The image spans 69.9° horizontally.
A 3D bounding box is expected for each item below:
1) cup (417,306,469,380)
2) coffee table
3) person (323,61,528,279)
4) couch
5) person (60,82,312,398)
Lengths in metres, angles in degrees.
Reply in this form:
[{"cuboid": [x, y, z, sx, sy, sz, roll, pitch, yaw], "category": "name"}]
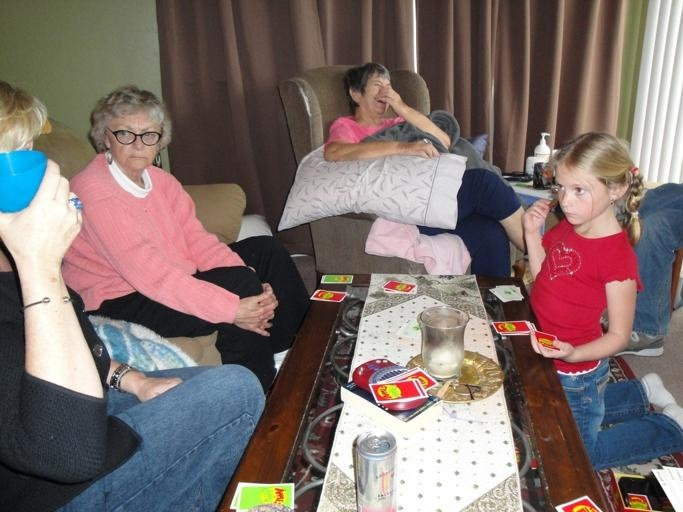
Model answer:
[{"cuboid": [0.271, 0.253, 1.327, 0.135, 0.171, 0.118, 3, 6, 27], "category": "cup"}, {"cuboid": [1.125, -0.351, 2.912, 0.365, 0.229, 0.376, 21, 35, 28], "category": "coffee table"}, {"cuboid": [0.580, -0.508, 2.736, 1.371, 0.855, 0.577, 21, 36, 17], "category": "person"}, {"cuboid": [-0.802, -0.215, 2.379, 1.069, 1.206, 0.924, 6, 26, 12], "category": "couch"}, {"cuboid": [-0.717, 0.025, 2.223, 0.953, 1.429, 0.832, 7, 29, 9], "category": "person"}]
